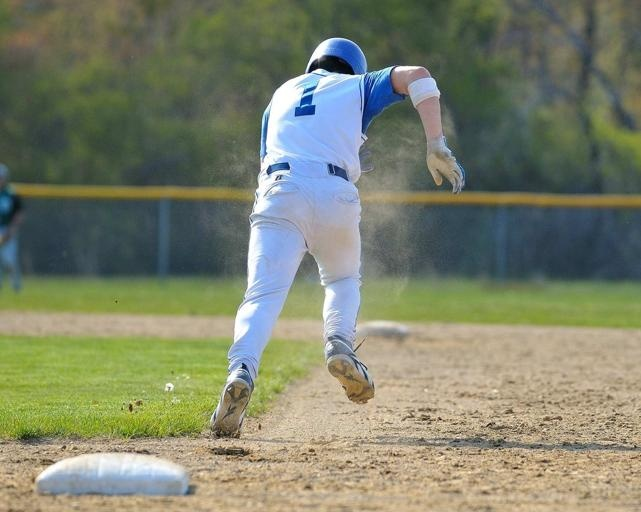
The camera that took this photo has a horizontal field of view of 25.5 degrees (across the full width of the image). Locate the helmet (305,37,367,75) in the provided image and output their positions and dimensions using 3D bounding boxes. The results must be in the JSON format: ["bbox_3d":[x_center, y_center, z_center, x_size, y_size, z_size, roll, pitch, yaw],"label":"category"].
[{"bbox_3d":[0.180,-2.127,14.719,0.364,0.365,0.491,10,13,41],"label":"helmet"}]

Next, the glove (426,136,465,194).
[{"bbox_3d":[1.334,-0.925,14.304,0.366,0.555,0.155,-35,-5,31],"label":"glove"}]
